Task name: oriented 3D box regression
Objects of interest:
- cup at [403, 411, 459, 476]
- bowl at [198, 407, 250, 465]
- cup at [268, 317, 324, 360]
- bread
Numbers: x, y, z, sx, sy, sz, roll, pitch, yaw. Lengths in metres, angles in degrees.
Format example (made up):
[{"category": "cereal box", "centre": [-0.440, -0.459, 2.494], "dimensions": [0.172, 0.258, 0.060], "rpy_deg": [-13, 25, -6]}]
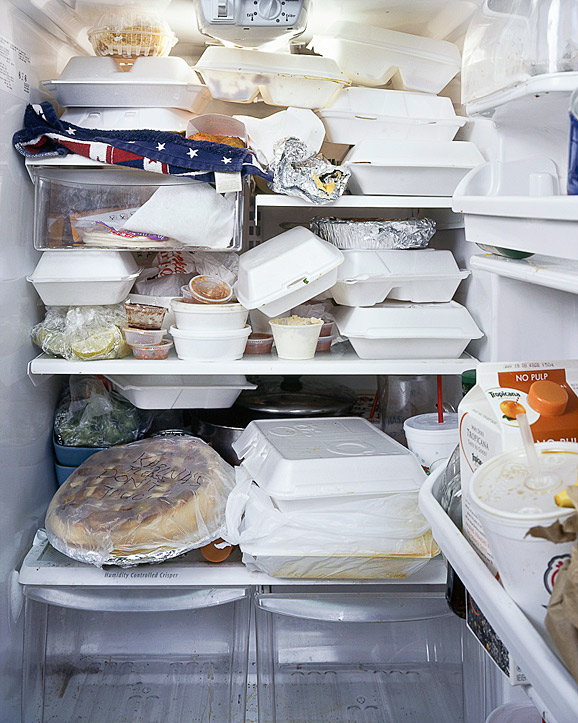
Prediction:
[{"category": "cup", "centre": [0.247, 0.147, 1.119], "dimensions": [0.133, 0.088, 0.110], "rpy_deg": [-2, 9, 4]}, {"category": "bowl", "centre": [-0.165, 0.181, 1.441], "dimensions": [0.137, 0.078, 0.110], "rpy_deg": [0, 3, -9]}, {"category": "cup", "centre": [0.016, -0.048, 1.255], "dimensions": [0.102, 0.061, 0.094], "rpy_deg": [0, 10, 0]}, {"category": "bread", "centre": [-0.278, 0.241, 1.119], "dimensions": [0.223, 0.047, 0.195], "rpy_deg": [-6, 28, 1]}]
